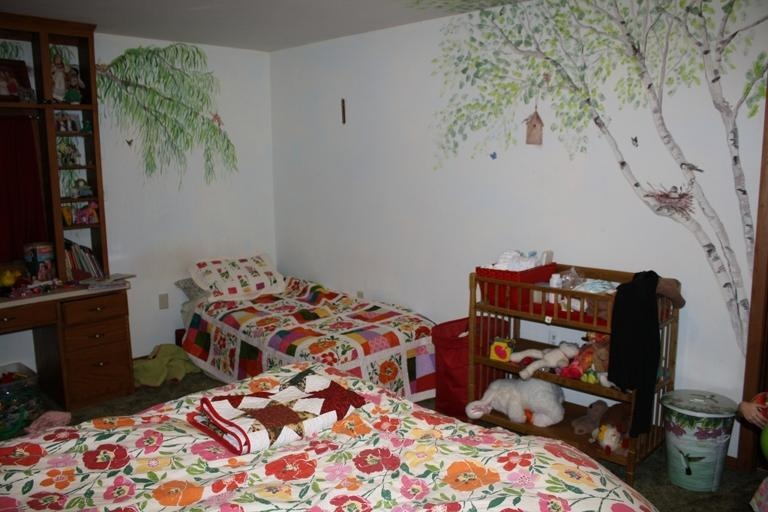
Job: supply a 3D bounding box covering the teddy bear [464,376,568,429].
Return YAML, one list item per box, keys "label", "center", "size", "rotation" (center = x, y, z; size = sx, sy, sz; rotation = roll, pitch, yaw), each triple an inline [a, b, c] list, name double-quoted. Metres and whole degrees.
- label: "teddy bear"
  center: [0.972, 1.010, 3.697]
  size: [0.621, 0.221, 0.359]
  rotation: [2, 3, 24]

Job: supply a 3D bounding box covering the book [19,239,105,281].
- label: "book"
  center: [-2.766, 0.005, 4.407]
  size: [0.513, 0.184, 0.376]
  rotation: [3, 6, 34]

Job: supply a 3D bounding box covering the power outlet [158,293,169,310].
- label: "power outlet"
  center: [-2.246, 0.464, 5.237]
  size: [0.036, 0.142, 0.137]
  rotation: [0, 6, 15]

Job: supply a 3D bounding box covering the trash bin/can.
- label: "trash bin/can"
  center: [2.050, 1.214, 3.373]
  size: [0.449, 0.568, 0.298]
  rotation: [3, 11, 17]

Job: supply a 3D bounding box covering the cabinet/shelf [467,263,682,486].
- label: "cabinet/shelf"
  center: [1.281, 0.764, 3.339]
  size: [1.311, 1.251, 0.754]
  rotation: [8, 12, 40]

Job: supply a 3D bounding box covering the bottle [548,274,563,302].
- label: "bottle"
  center: [1.195, 0.235, 3.599]
  size: [0.092, 0.215, 0.245]
  rotation: [3, 11, 18]
